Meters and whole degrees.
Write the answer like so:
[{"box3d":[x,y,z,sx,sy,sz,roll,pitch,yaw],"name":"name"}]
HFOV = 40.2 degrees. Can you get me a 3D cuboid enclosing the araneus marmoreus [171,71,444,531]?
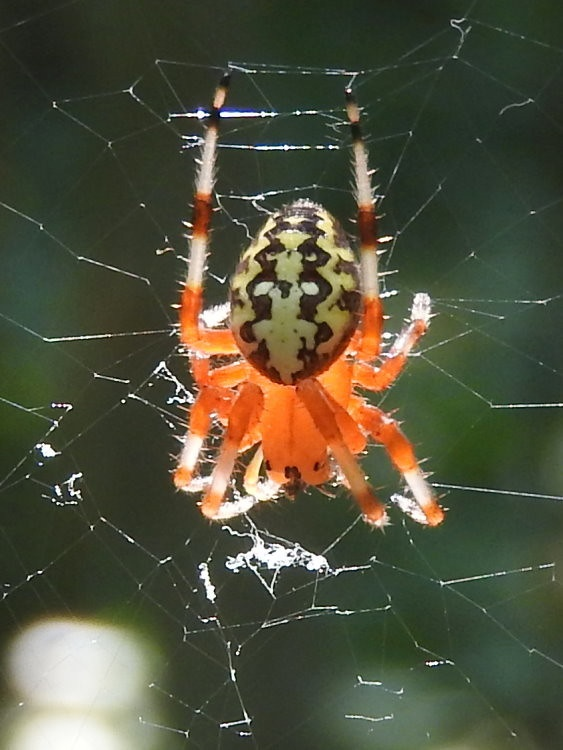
[{"box3d":[0.017,-0.096,1.393,0.516,0.241,0.766,2,-78,8],"name":"araneus marmoreus"}]
